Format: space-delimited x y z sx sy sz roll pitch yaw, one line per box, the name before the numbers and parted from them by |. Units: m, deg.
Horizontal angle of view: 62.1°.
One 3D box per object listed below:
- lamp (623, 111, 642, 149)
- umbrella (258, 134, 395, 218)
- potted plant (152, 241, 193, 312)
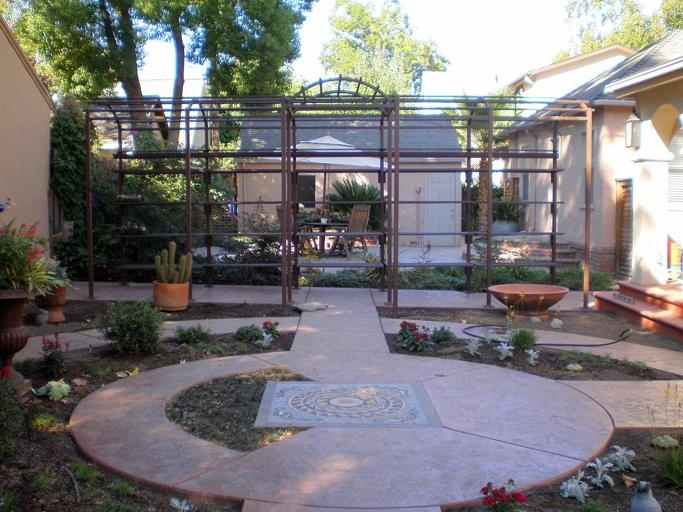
lamp | 4.611 -1.969 8.916 0.163 0.569 0.236 1 10 0
umbrella | -1.021 -2.427 17.632 3.764 1.591 3.655 -3 12 0
potted plant | -2.529 0.328 8.427 0.606 0.994 0.407 -6 12 -35
